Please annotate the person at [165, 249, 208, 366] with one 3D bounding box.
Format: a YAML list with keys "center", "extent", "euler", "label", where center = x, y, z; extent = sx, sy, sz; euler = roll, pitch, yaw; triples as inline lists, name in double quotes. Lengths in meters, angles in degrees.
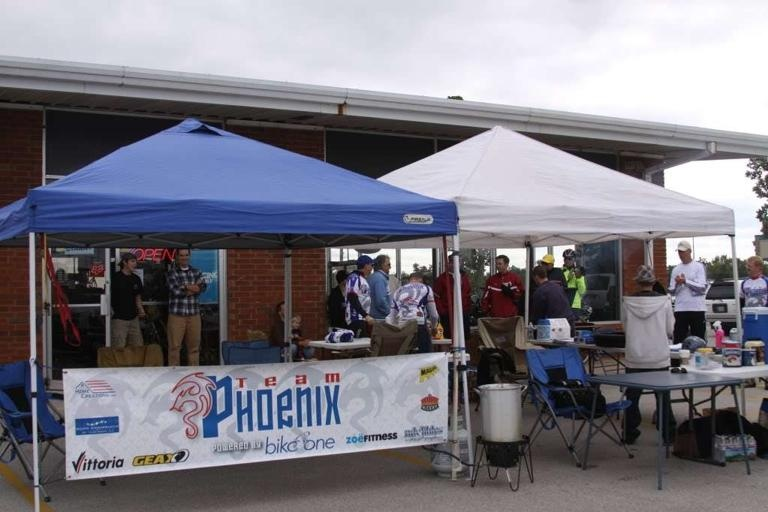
- center: [-3.171, 0.828, 14.172]
  extent: [0.631, 1.799, 0.403]
  euler: [-4, 0, -17]
  label: "person"

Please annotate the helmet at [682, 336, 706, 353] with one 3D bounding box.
- center: [4.041, 1.158, 11.643]
  extent: [0.258, 0.151, 0.190]
  euler: [1, 1, -40]
  label: "helmet"

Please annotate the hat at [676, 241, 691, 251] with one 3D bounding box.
- center: [4.546, -0.149, 13.509]
  extent: [0.198, 0.144, 0.282]
  euler: [-4, -1, 18]
  label: "hat"

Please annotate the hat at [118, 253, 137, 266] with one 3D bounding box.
- center: [-4.237, 0.046, 14.648]
  extent: [0.241, 0.221, 0.189]
  euler: [-14, -5, 7]
  label: "hat"

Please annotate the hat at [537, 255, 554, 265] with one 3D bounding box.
- center: [2.795, 0.074, 15.364]
  extent: [0.224, 0.110, 0.172]
  euler: [9, 3, 1]
  label: "hat"

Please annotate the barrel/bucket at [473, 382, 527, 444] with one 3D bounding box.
- center: [1.348, 1.839, 10.468]
  extent: [0.625, 0.595, 0.603]
  euler: [-1, -7, 0]
  label: "barrel/bucket"

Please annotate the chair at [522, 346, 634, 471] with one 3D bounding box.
- center: [2.550, 1.921, 11.483]
  extent: [1.452, 1.559, 1.431]
  euler: [3, -5, -30]
  label: "chair"

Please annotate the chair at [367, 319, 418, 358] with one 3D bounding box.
- center: [0.068, 1.113, 11.744]
  extent: [0.463, 0.647, 0.531]
  euler: [1, -3, -5]
  label: "chair"

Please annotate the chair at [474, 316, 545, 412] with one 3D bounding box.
- center: [1.718, 1.553, 12.946]
  extent: [1.257, 1.313, 1.094]
  euler: [1, -1, -14]
  label: "chair"

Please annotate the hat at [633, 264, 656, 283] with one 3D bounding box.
- center: [3.415, 0.242, 11.640]
  extent: [0.281, 0.176, 0.360]
  euler: [-2, -1, 13]
  label: "hat"

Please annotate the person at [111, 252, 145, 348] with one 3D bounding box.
- center: [-4.274, 0.721, 14.647]
  extent: [0.543, 1.489, 0.365]
  euler: [-4, 0, -18]
  label: "person"

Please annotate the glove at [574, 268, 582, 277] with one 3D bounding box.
- center: [3.645, 0.322, 16.796]
  extent: [0.136, 0.142, 0.280]
  euler: [-2, 11, 13]
  label: "glove"

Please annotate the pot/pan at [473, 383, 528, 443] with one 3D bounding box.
- center: [1.339, 1.850, 10.494]
  extent: [0.634, 0.603, 0.600]
  euler: [0, -7, 0]
  label: "pot/pan"
